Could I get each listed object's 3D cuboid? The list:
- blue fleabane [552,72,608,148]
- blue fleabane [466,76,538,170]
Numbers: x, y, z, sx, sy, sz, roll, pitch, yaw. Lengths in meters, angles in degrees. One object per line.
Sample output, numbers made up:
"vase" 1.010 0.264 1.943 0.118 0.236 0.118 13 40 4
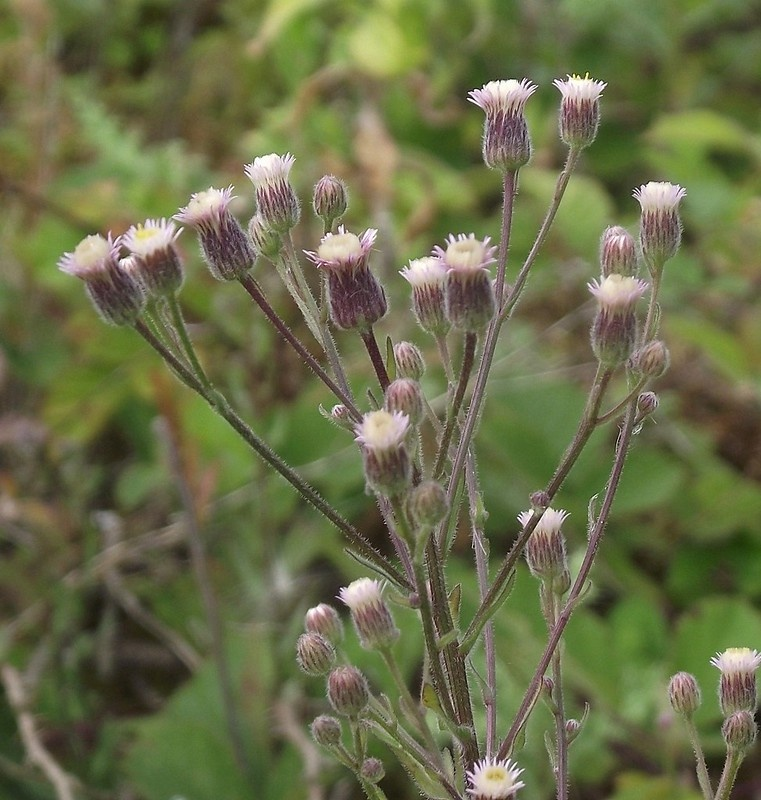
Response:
"blue fleabane" 0.236 -0.342 1.762 0.080 0.082 0.078 0 1 -26
"blue fleabane" 0.143 -0.317 1.741 0.088 0.108 0.081 -2 1 -12
